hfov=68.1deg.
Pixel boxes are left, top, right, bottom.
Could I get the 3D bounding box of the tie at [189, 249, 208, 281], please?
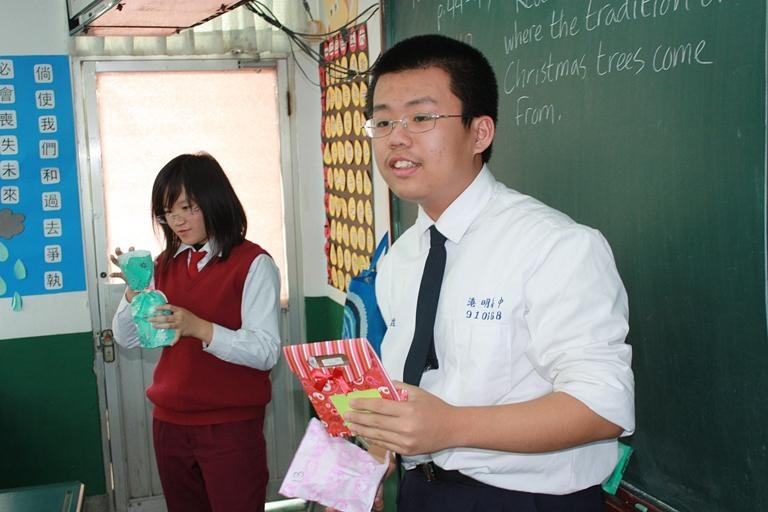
[{"bbox_3d":[-0.818,0.038,2.454,0.064,0.122,0.041,4,-3,-17],"label":"tie"}]
